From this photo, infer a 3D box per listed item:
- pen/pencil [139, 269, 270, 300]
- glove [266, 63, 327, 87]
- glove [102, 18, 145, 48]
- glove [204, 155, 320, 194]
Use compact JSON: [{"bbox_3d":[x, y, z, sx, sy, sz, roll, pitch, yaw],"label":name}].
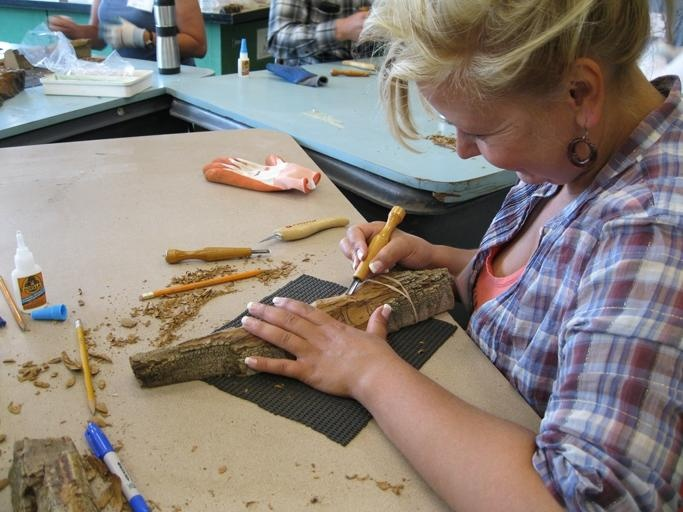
[{"bbox_3d":[-0.366,0.076,1.489,0.293,0.020,0.019,-10,41,-19],"label":"pen/pencil"},{"bbox_3d":[-0.239,-0.952,2.983,0.281,0.055,0.165,20,28,27],"label":"glove"},{"bbox_3d":[-1.415,-1.465,3.718,0.339,0.168,0.095,-1,-8,41],"label":"glove"},{"bbox_3d":[-0.271,-0.322,1.931,0.303,0.075,0.173,10,22,16],"label":"glove"}]
